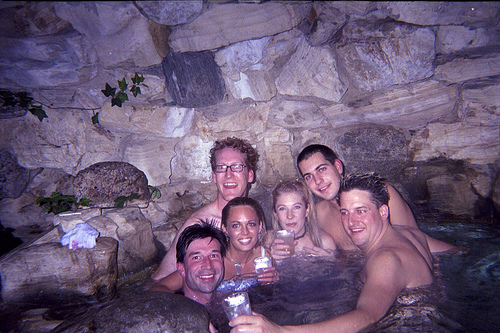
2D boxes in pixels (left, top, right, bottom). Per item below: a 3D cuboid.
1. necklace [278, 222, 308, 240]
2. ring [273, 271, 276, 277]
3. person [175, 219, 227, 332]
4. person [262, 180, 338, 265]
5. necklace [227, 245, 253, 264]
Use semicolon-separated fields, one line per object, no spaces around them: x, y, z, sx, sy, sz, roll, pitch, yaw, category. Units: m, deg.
0.729;1.036;5.506;0.299;0.247;0.392;-1;-4;3;necklace
0.376;1.625;5.108;0.078;0.074;0.028;1;4;-38;ring
-0.722;1.418;4.935;0.751;1.001;0.508;-5;-2;-3;person
0.843;0.895;5.935;1.215;1.489;1.272;-6;-1;2;person
-0.181;1.398;5.277;0.295;0.261;0.356;-1;-2;0;necklace
